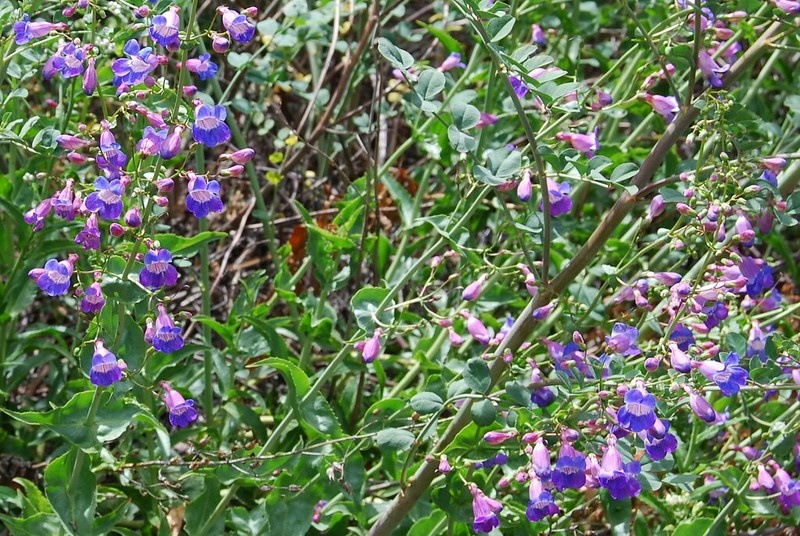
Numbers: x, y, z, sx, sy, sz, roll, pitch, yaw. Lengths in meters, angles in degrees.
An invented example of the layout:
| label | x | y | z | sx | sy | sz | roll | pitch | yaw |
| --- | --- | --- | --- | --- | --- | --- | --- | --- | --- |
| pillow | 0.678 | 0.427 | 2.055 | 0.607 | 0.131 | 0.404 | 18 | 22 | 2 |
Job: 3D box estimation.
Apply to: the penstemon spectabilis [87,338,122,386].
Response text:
| label | x | y | z | sx | sy | sz | roll | pitch | yaw |
| --- | --- | --- | --- | --- | --- | --- | --- | --- | --- |
| penstemon spectabilis | -1.090 | 0.337 | 3.534 | 0.075 | 0.129 | 0.060 | 31 | 85 | 48 |

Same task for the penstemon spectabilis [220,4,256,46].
| label | x | y | z | sx | sy | sz | roll | pitch | yaw |
| --- | --- | --- | --- | --- | --- | --- | --- | --- | --- |
| penstemon spectabilis | -0.623 | -0.924 | 3.591 | 0.094 | 0.086 | 0.186 | -38 | 44 | 1 |

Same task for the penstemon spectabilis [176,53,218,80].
| label | x | y | z | sx | sy | sz | roll | pitch | yaw |
| --- | --- | --- | --- | --- | --- | --- | --- | --- | --- |
| penstemon spectabilis | -0.778 | -0.774 | 3.681 | 0.081 | 0.140 | 0.091 | -2 | 102 | -40 |

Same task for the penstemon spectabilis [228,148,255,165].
| label | x | y | z | sx | sy | sz | roll | pitch | yaw |
| --- | --- | --- | --- | --- | --- | --- | --- | --- | --- |
| penstemon spectabilis | -0.593 | -0.417 | 3.574 | 0.087 | 0.044 | 0.054 | -20 | 84 | 23 |

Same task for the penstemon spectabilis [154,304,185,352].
| label | x | y | z | sx | sy | sz | roll | pitch | yaw |
| --- | --- | --- | --- | --- | --- | --- | --- | --- | --- |
| penstemon spectabilis | -0.893 | 0.260 | 3.667 | 0.101 | 0.188 | 0.111 | 3 | 95 | -17 |

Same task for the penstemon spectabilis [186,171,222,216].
| label | x | y | z | sx | sy | sz | roll | pitch | yaw |
| --- | --- | --- | --- | --- | --- | --- | --- | --- | --- |
| penstemon spectabilis | -0.732 | -0.260 | 3.564 | 0.122 | 0.257 | 0.179 | -4 | 61 | -12 |

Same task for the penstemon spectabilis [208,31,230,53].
| label | x | y | z | sx | sy | sz | roll | pitch | yaw |
| --- | --- | --- | --- | --- | --- | --- | --- | --- | --- |
| penstemon spectabilis | -0.652 | -0.822 | 3.466 | 0.051 | 0.059 | 0.098 | -8 | 64 | -15 |
